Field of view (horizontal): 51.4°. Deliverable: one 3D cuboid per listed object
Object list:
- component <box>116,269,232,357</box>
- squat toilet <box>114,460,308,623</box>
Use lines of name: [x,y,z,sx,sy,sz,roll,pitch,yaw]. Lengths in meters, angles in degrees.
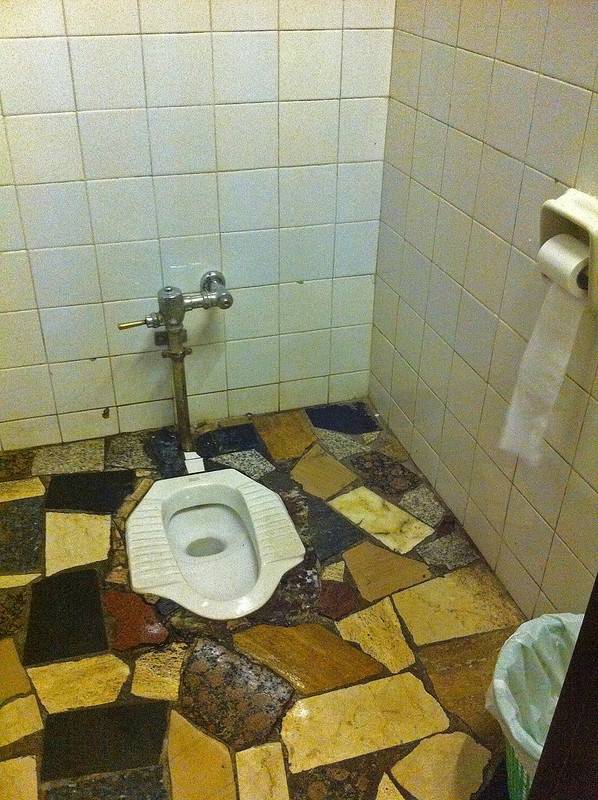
component: [-0.407,-0.268,2.124,0.361,0.277,0.273,-7,32,-8]
squat toilet: [-0.268,0.473,1.972,0.521,0.168,0.614,-11,33,-14]
